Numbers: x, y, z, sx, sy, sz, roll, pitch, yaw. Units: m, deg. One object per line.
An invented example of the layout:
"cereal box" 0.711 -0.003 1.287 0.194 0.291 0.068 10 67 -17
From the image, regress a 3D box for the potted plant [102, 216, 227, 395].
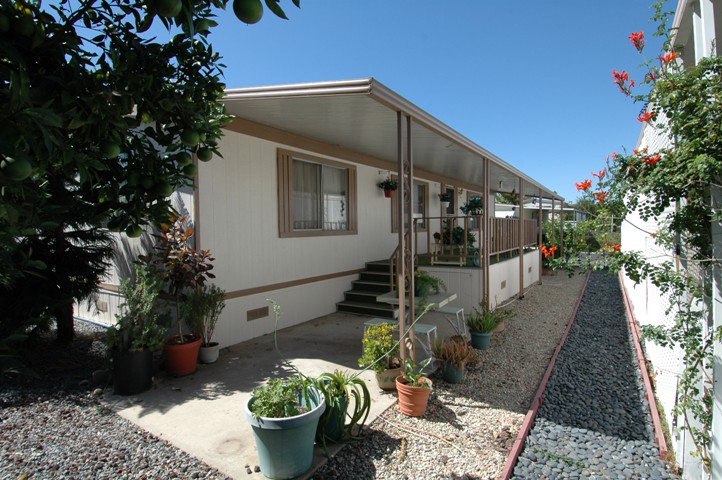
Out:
"potted plant" -2.686 0.690 5.729 1.332 1.988 1.748 -4 9 -23

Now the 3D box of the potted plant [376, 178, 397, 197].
"potted plant" 0.600 -1.203 9.614 0.370 0.382 0.384 -1 -2 3

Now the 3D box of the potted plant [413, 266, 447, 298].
"potted plant" 1.002 0.664 6.514 0.410 0.387 0.421 2 4 -22

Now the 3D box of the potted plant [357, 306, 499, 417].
"potted plant" 0.452 1.311 4.820 0.940 0.804 1.046 0 0 -21
